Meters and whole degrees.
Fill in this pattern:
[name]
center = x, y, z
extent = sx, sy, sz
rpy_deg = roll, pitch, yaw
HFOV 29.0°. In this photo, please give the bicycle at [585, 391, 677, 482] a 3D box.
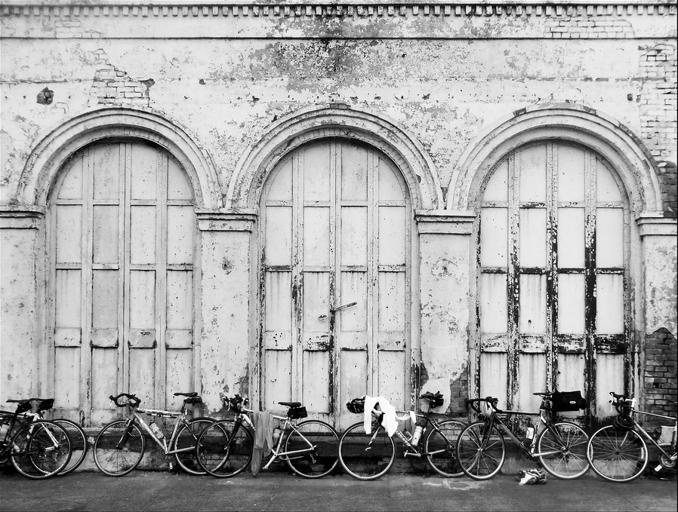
[bicycle]
center = 4.178, 2.599, 18.790
extent = 1.268, 1.266, 0.475
rpy_deg = -1, -8, 10
